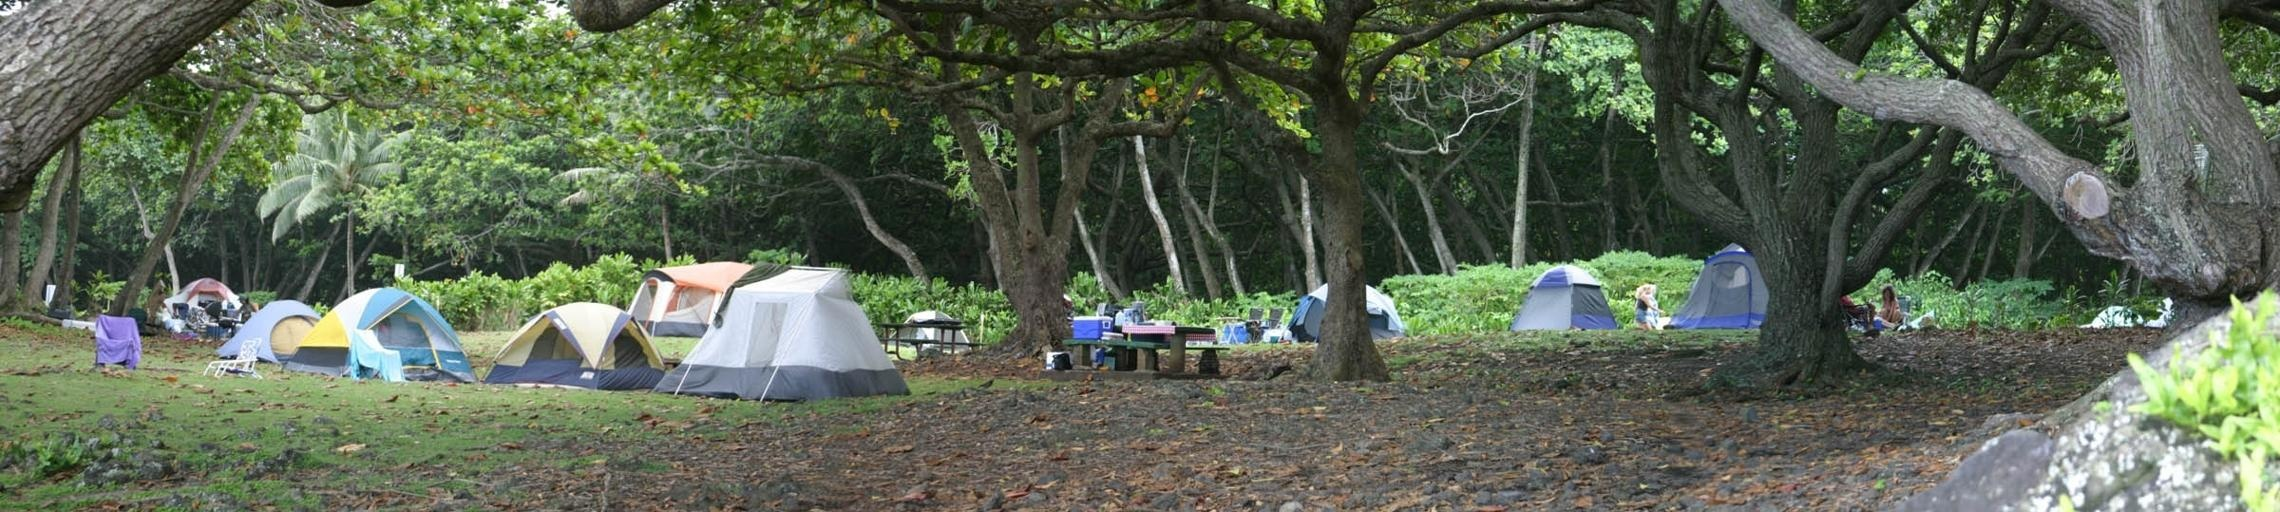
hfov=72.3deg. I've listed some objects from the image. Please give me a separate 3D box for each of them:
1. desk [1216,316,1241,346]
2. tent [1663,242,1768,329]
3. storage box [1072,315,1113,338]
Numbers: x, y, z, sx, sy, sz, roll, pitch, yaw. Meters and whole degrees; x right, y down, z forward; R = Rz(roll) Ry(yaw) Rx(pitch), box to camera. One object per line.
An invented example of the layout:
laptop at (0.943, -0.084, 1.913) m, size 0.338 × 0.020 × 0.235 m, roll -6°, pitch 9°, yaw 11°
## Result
desk at (7.789, 6.191, 133.721) m, size 2.279 × 1.806 × 2.433 m, roll 2°, pitch -6°, yaw -14°
tent at (48.335, 2.412, 129.848) m, size 6.204 × 6.328 × 1.015 m, roll -1°, pitch -8°, yaw 10°
storage box at (-3.763, 5.869, 127.127) m, size 3.784 × 1.232 × 2.123 m, roll 1°, pitch -4°, yaw -21°
